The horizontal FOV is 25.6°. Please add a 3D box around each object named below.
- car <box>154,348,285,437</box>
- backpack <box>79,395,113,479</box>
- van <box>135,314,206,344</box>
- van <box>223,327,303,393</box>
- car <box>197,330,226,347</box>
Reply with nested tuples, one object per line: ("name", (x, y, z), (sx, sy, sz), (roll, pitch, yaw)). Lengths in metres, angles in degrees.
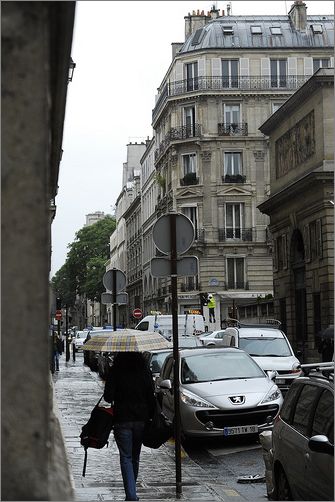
("car", (0.808, 2.401, 12.767), (1.100, 0.976, 2.082), (-1, -9, -12))
("backpack", (-0.703, 1.693, 7.251), (0.335, 0.502, 0.225), (-1, -6, -8))
("van", (0.384, 3.179, 31.788), (3.026, 1.842, 1.894), (3, -6, -18))
("van", (2.442, 2.774, 19.323), (1.511, 1.697, 3.003), (0, -9, -6))
("car", (1.780, 3.505, 29.974), (0.715, 0.674, 1.806), (0, 5, 17))
